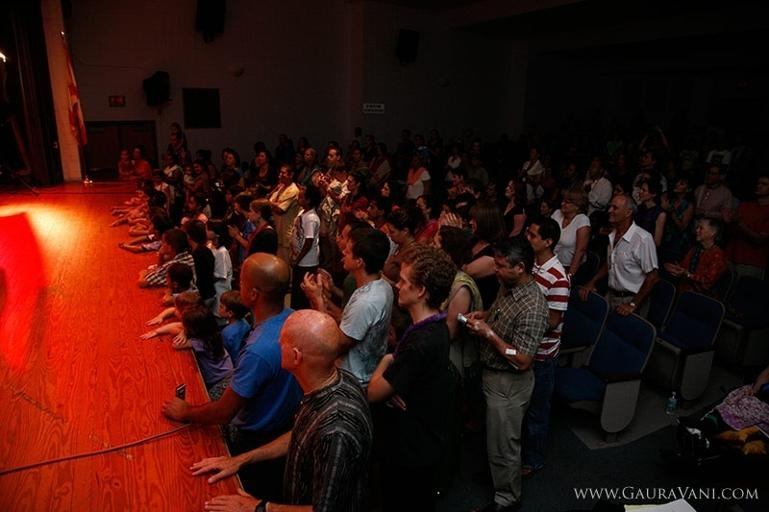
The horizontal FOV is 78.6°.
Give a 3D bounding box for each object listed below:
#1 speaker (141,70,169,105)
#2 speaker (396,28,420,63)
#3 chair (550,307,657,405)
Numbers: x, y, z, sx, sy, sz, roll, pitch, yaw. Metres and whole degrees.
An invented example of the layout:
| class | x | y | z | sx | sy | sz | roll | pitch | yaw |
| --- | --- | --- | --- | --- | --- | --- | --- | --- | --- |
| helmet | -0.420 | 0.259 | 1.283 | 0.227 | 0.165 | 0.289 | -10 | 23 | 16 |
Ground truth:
| class | x | y | z | sx | sy | sz | roll | pitch | yaw |
| --- | --- | --- | --- | --- | --- | --- | --- | --- | --- |
| speaker | -5.720 | -4.165 | 11.574 | 0.615 | 0.858 | 0.454 | 6 | 22 | 2 |
| speaker | 0.649 | -5.918 | 13.229 | 0.745 | 1.226 | 0.276 | 1 | 11 | -19 |
| chair | 1.910 | 0.918 | 4.500 | 0.813 | 1.025 | 0.828 | 5 | 11 | -16 |
